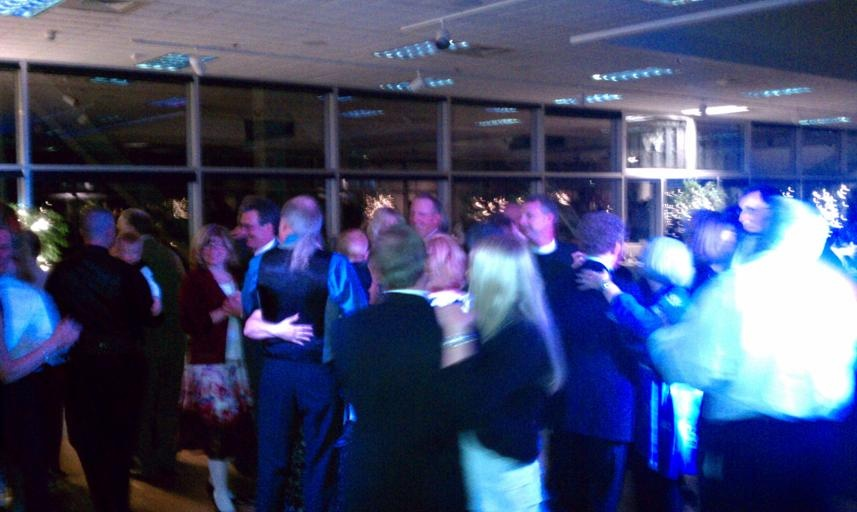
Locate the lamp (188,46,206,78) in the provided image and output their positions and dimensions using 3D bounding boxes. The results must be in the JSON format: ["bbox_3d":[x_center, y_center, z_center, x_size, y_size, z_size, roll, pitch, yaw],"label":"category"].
[{"bbox_3d":[-2.745,-2.253,8.238,0.158,0.217,0.340,-1,5,-18],"label":"lamp"}]
